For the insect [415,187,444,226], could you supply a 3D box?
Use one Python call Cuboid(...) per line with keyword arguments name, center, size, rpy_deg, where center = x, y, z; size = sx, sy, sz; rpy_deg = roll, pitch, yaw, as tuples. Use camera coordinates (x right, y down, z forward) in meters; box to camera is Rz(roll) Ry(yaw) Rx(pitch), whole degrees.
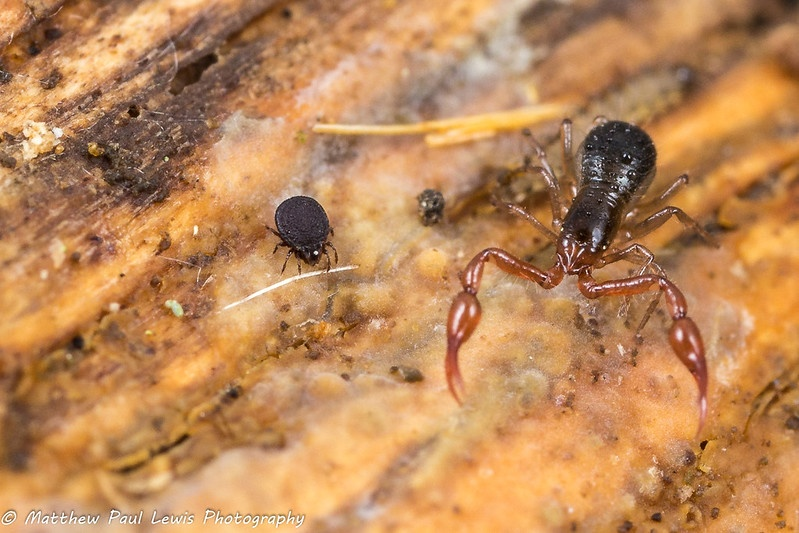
Cuboid(name="insect", center=(0.337, -0.621, 8.855), size=(0.282, 0.131, 0.354), rpy_deg=(2, 88, -13))
